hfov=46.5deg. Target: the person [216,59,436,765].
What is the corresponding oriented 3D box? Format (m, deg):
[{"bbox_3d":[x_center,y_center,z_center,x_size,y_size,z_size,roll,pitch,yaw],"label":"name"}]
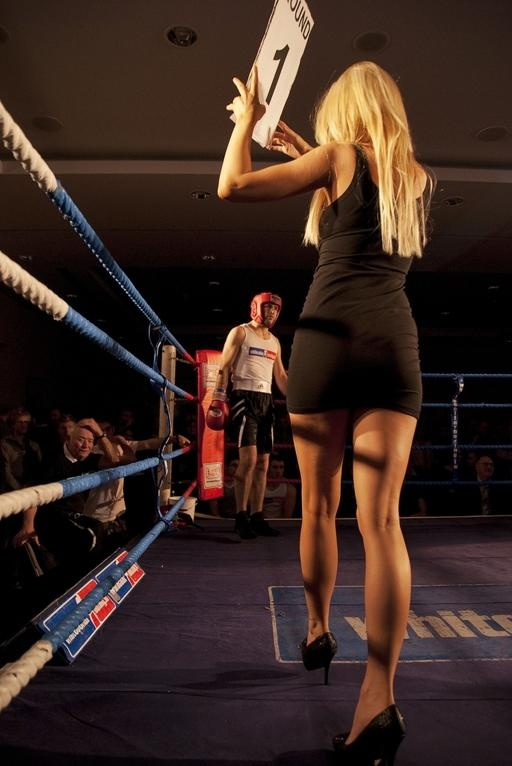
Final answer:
[{"bbox_3d":[0.158,-0.005,1.264,0.391,1.430,0.303,-2,-3,18],"label":"person"}]
